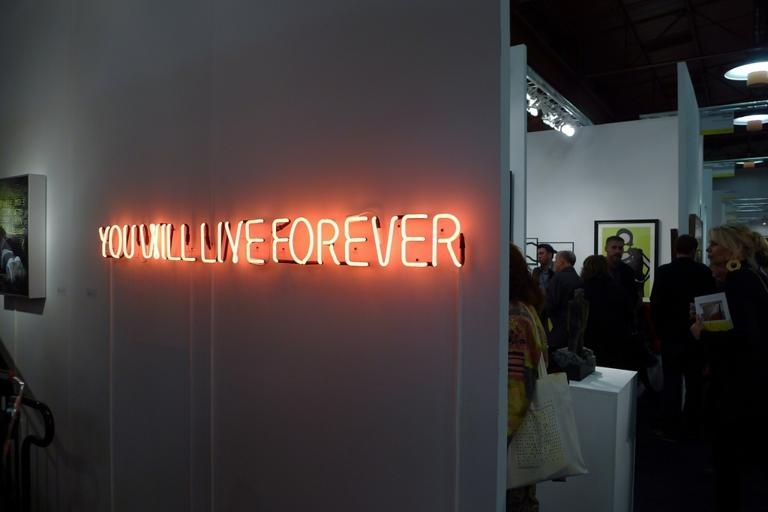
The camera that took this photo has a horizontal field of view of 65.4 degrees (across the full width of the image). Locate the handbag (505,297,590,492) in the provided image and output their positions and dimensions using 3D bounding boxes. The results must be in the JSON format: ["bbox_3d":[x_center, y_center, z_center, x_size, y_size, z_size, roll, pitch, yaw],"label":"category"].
[{"bbox_3d":[1.070,0.939,4.091,0.511,1.238,0.231,-1,-3,-19],"label":"handbag"}]
